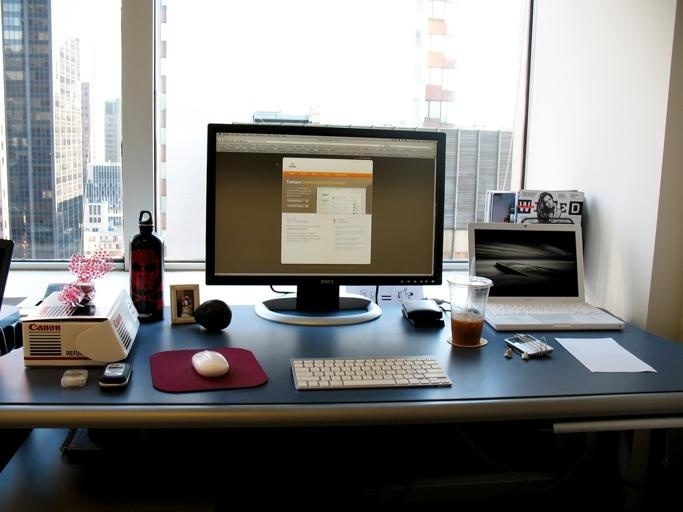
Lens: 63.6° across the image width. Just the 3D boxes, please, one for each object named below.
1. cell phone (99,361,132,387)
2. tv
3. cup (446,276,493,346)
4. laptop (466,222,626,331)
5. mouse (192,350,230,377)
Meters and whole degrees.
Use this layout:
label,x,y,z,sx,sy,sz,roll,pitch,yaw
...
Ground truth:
label,x,y,z,sx,sy,sz,roll,pitch,yaw
cell phone,-0.583,0.305,1.421,0.068,0.038,0.091,-3,11,-9
tv,-0.054,-0.117,1.812,0.667,0.561,0.265,1,5,-6
cup,0.396,0.173,1.733,0.148,0.190,0.150,1,2,0
laptop,0.673,0.057,1.847,0.459,0.310,0.389,1,6,7
mouse,-0.358,0.285,1.480,0.125,0.049,0.076,9,15,42
